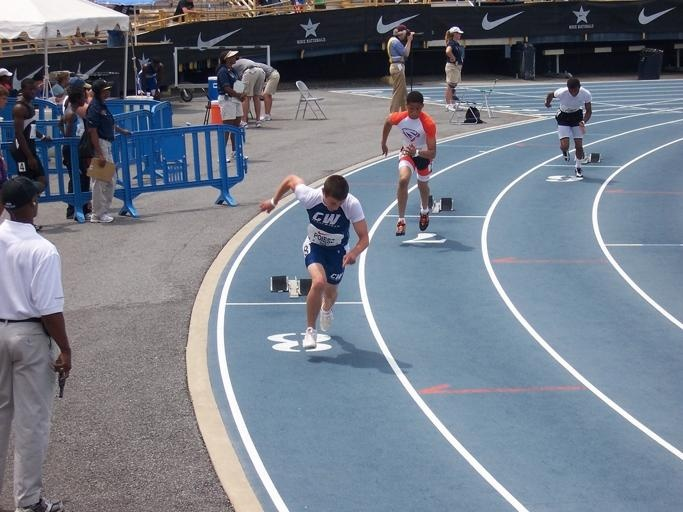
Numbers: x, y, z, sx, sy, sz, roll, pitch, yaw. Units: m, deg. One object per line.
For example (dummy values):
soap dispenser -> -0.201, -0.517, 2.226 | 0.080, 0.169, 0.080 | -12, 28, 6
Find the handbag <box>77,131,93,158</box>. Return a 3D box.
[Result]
handbag -> -4.151, -1.816, 13.921 | 0.193, 0.493, 0.328 | -2, 16, -2

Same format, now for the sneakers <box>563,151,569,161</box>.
sneakers -> 4.937, -2.219, 18.794 | 0.090, 0.271, 0.107 | -5, 4, 13

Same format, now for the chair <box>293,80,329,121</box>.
chair -> -0.967, -4.924, 26.901 | 0.971, 1.163, 0.862 | -1, 8, 3

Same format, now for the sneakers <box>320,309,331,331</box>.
sneakers -> -0.183, 0.763, 9.959 | 0.094, 0.282, 0.121 | -1, 12, 1

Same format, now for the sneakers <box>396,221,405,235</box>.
sneakers -> 0.952, -0.462, 13.801 | 0.088, 0.113, 0.266 | 4, 13, 7

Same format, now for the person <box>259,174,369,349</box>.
person -> -0.216, 0.062, 9.732 | 1.013, 2.058, 1.092 | -4, 13, -5

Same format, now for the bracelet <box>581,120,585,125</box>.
bracelet -> 5.002, -2.772, 17.689 | 0.058, 0.037, 0.055 | -8, -22, 2

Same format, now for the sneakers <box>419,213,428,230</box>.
sneakers -> 1.328, -0.557, 13.762 | 0.100, 0.303, 0.118 | 2, -14, 13

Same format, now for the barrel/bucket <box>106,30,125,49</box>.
barrel/bucket -> -7.055, -6.806, 26.843 | 0.508, 0.464, 1.338 | -6, 14, -16

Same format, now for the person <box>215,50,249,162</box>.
person -> -2.475, -3.531, 19.815 | 0.722, 2.459, 0.771 | -2, 1, 33

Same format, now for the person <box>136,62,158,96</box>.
person -> -5.350, -4.907, 23.686 | 0.583, 0.971, 1.734 | -5, 14, -12

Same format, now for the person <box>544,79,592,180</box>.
person -> 4.713, -2.663, 17.828 | 0.875, 2.069, 1.476 | 1, 14, 13

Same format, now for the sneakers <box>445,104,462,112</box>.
sneakers -> 3.532, -4.684, 26.894 | 0.252, 0.292, 0.678 | -4, 3, -32

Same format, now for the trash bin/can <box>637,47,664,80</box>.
trash bin/can -> 13.532, -8.441, 37.593 | 0.990, 1.299, 0.796 | 9, 17, 39
